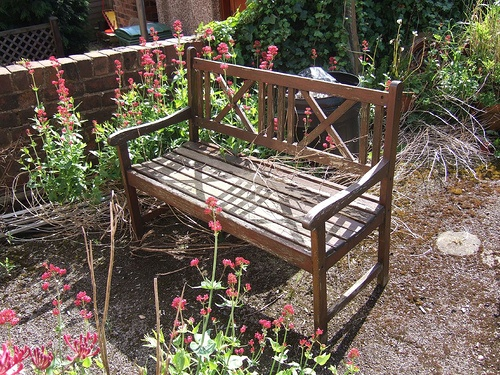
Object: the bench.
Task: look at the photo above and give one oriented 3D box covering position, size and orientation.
[{"bbox_3d":[-0.013,0.095,2.802,1.558,1.221,0.709,23,40,34],"label":"bench"}]
